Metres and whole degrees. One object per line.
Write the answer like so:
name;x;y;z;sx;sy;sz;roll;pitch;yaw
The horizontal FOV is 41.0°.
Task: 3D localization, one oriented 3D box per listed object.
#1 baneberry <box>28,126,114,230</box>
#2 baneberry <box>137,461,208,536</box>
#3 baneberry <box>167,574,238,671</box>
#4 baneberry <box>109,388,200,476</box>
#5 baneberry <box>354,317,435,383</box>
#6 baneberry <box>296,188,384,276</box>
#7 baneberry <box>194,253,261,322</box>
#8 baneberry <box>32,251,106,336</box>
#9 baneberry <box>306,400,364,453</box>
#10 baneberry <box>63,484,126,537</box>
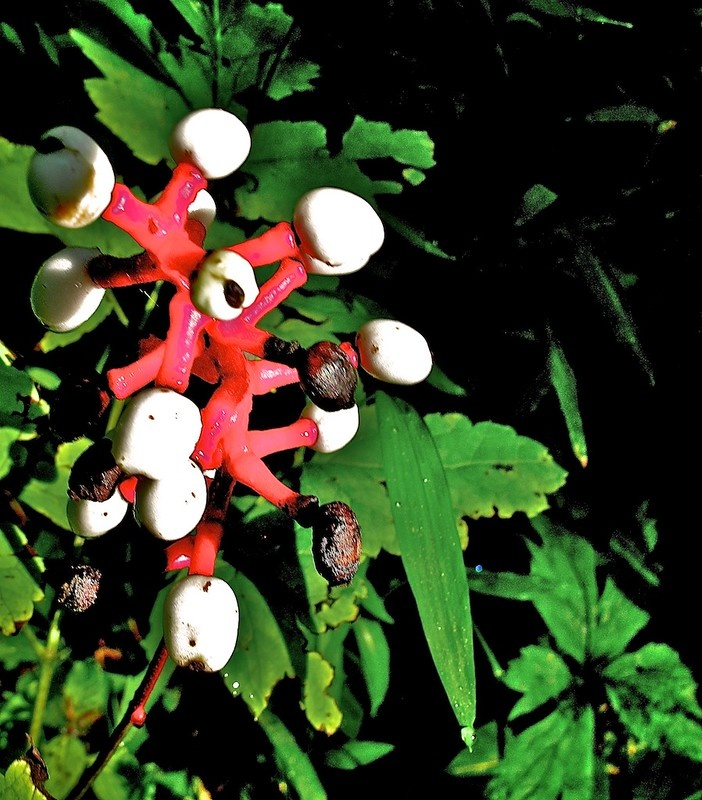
baneberry;-0.203;-0.154;0.668;0.060;0.056;0.053;32;-2;-14
baneberry;-0.133;0.076;0.724;0.048;0.066;0.086;9;-7;-10
baneberry;-0.114;0.169;0.710;0.056;0.074;0.036;1;-37;-9
baneberry;-0.147;0.013;0.697;0.052;0.062;0.034;43;-5;-22
baneberry;0.035;-0.039;0.764;0.058;0.046;0.035;36;-19;3
baneberry;-0.009;-0.132;0.773;0.059;0.069;0.036;-34;25;-16
baneberry;-0.086;-0.075;0.641;0.039;0.046;0.023;3;2;-21
baneberry;-0.230;-0.092;0.764;0.048;0.052;0.085;15;-29;-38
baneberry;-0.018;0.021;0.840;0.048;0.033;0.048;-3;-23;-2
baneberry;-0.208;0.083;0.795;0.039;0.046;0.045;42;6;16
